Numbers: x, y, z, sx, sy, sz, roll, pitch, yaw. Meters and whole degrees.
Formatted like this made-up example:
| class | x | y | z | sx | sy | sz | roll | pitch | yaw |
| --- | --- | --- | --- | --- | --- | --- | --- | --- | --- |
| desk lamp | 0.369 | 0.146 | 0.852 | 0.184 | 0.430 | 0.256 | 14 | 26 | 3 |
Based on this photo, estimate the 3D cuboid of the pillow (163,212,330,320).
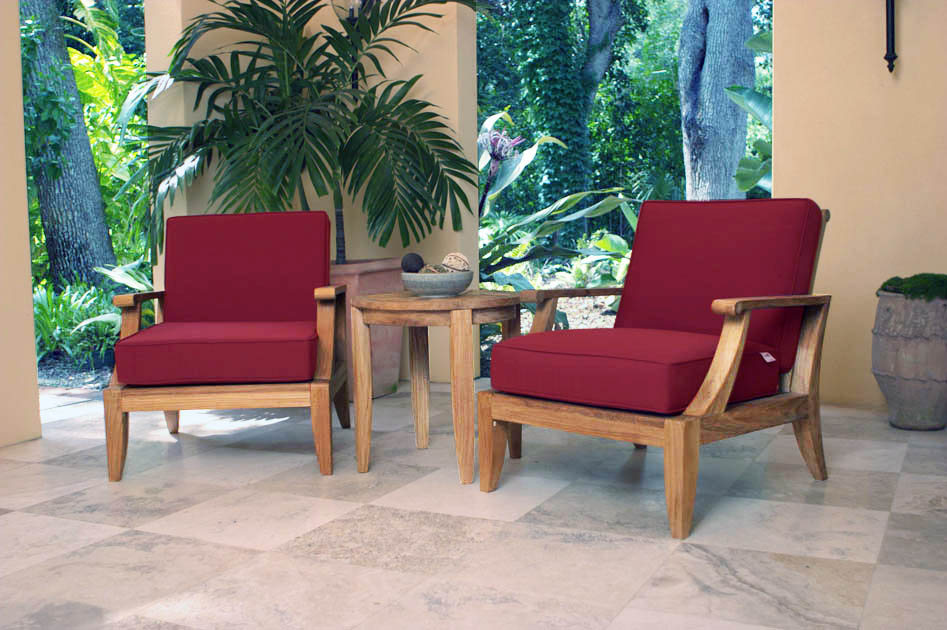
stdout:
| class | x | y | z | sx | sy | sz | roll | pitch | yaw |
| --- | --- | --- | --- | --- | --- | --- | --- | --- | --- |
| pillow | -1.112 | -0.229 | 3.625 | 0.767 | 0.451 | 0.385 | -2 | -13 | -3 |

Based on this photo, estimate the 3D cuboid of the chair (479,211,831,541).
| class | x | y | z | sx | sy | sz | roll | pitch | yaw |
| --- | --- | --- | --- | --- | --- | --- | --- | --- | --- |
| chair | 0.742 | 0.119 | 2.865 | 1.260 | 1.019 | 1.034 | -8 | 11 | -36 |

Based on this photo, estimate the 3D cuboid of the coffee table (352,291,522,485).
| class | x | y | z | sx | sy | sz | roll | pitch | yaw |
| --- | --- | --- | --- | --- | --- | --- | --- | --- | --- |
| coffee table | -0.234 | 0.262 | 3.268 | 0.872 | 0.795 | 0.811 | 2 | 8 | 18 |

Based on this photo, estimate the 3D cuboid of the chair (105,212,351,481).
| class | x | y | z | sx | sy | sz | roll | pitch | yaw |
| --- | --- | --- | --- | --- | --- | --- | --- | --- | --- |
| chair | -1.089 | 0.056 | 3.278 | 1.130 | 0.953 | 1.144 | -5 | 13 | -21 |
